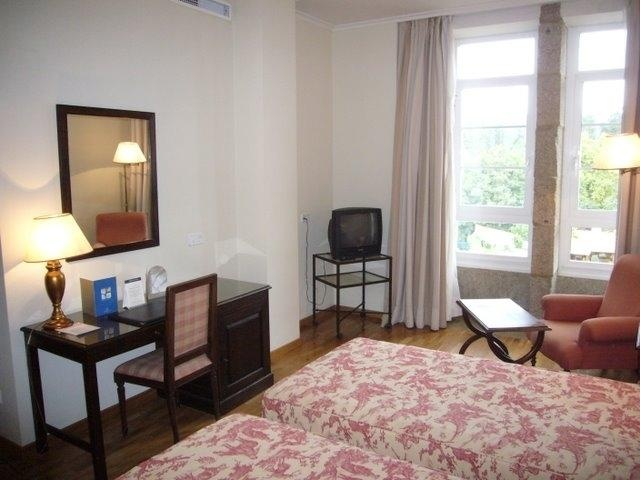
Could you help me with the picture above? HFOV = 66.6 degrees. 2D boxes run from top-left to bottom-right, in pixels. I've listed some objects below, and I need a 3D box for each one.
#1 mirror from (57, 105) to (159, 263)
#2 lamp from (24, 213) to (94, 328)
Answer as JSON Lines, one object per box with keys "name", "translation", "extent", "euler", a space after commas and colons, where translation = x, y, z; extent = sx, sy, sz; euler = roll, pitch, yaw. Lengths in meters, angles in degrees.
{"name": "mirror", "translation": [-1.590, -0.453, 3.721], "extent": [0.059, 1.100, 0.798], "euler": [8, 15, 40]}
{"name": "lamp", "translation": [-1.787, 0.195, 3.334], "extent": [0.393, 0.745, 0.315], "euler": [-7, 12, -27]}
